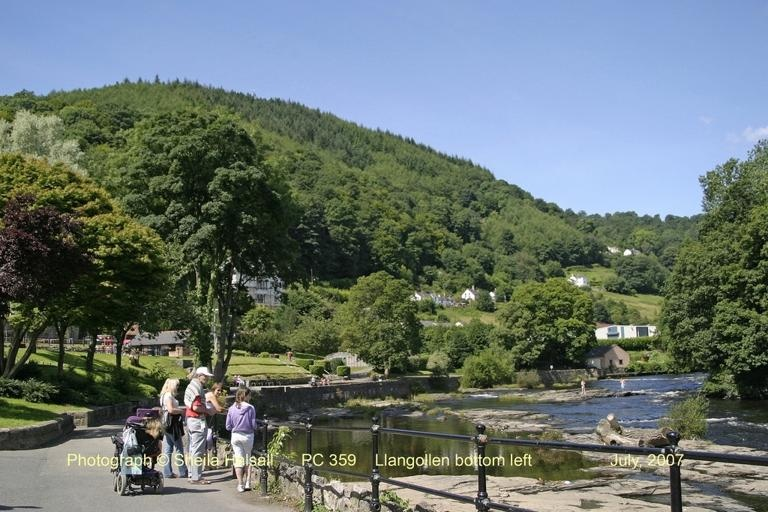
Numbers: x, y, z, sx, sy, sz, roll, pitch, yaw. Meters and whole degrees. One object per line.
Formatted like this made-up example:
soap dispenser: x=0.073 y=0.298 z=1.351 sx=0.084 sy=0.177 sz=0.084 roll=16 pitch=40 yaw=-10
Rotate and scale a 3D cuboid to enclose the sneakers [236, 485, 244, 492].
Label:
sneakers: x=-6.042 y=9.733 z=36.313 sx=0.287 sy=0.280 sz=0.281 roll=3 pitch=-11 yaw=-6
